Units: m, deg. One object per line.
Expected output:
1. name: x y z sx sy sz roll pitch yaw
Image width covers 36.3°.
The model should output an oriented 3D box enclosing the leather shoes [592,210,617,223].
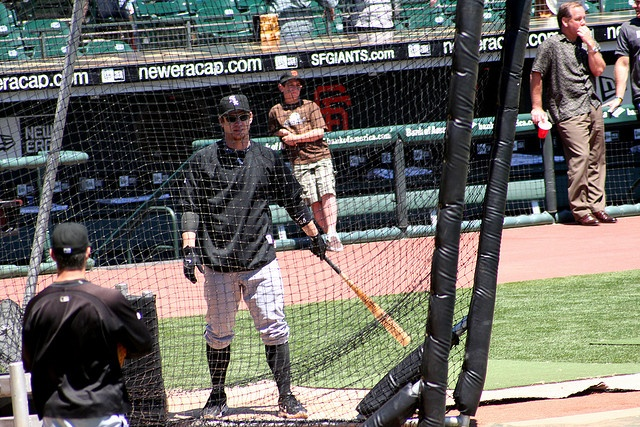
1. leather shoes: 3.981 0.050 13.500 0.375 0.132 0.133 10 18 36

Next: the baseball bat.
1. baseball bat: 0.511 0.904 9.773 0.170 0.117 1.775 -41 28 4

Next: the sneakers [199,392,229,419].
1. sneakers: -0.940 1.724 8.806 0.243 0.167 0.259 -4 10 -7

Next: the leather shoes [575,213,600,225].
1. leather shoes: 3.700 0.074 13.518 0.363 0.147 0.140 3 13 39

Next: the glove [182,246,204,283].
1. glove: -1.153 0.448 8.887 0.135 0.383 0.164 -14 -4 -27

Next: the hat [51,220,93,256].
1. hat: -2.006 0.184 7.881 0.346 0.244 0.437 2 21 2

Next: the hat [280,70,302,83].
1. hat: -0.367 -1.770 12.589 0.275 0.161 0.417 -3 10 -2

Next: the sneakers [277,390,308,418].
1. sneakers: -0.243 1.724 8.650 0.283 0.196 0.234 -1 10 10

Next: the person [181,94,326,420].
1. person: -0.660 0.358 8.866 1.119 2.830 0.847 -4 10 -7

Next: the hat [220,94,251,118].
1. hat: -0.766 -0.983 8.869 0.275 0.191 0.158 -4 10 -5
